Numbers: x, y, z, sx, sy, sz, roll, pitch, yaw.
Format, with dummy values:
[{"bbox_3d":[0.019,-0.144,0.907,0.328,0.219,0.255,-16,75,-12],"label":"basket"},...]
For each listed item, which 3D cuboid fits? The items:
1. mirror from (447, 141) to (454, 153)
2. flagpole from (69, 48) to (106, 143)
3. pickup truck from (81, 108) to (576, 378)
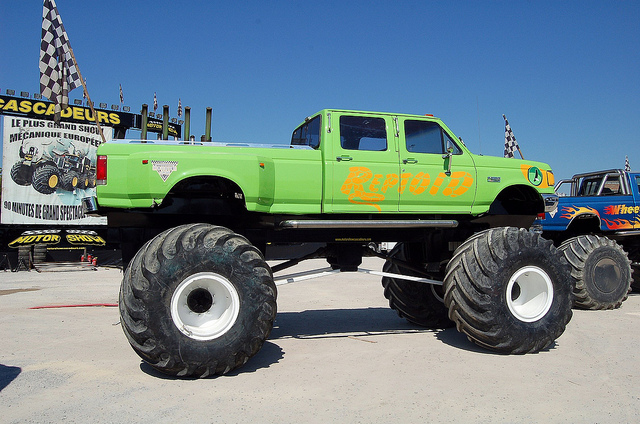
[{"bbox_3d":[2.224,-1.088,7.128,0.136,0.192,0.063,1,-3,-7],"label":"mirror"},{"bbox_3d":[-10.883,-4.282,19.231,0.165,7.552,0.520,-14,-14,-17],"label":"flagpole"},{"bbox_3d":[0.124,0.325,7.600,7.380,3.962,4.105,-1,-1,-18],"label":"pickup truck"}]
